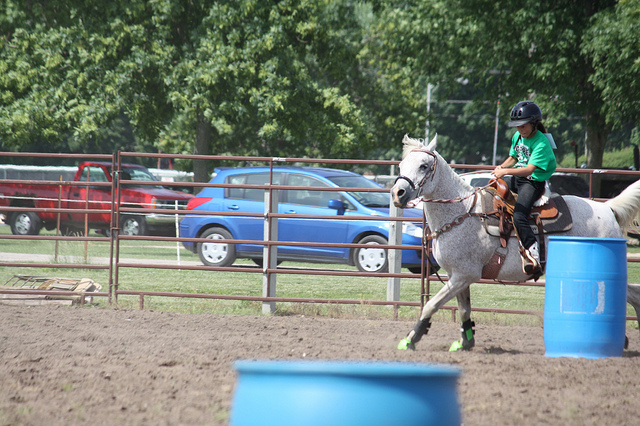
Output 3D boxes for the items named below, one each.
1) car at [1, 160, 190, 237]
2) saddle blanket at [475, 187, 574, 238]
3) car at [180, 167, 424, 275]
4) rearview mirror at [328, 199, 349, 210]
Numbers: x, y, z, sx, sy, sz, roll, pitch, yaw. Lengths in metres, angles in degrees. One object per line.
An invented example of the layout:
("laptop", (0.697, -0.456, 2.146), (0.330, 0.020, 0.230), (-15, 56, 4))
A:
("car", (-6.657, -0.349, 30.277), (6.064, 2.280, 2.747), (0, 0, 24))
("saddle blanket", (4.465, 0.004, 22.559), (1.503, 0.601, 1.765), (19, 37, -3))
("car", (-0.654, 0.160, 26.447), (5.810, 2.210, 2.766), (0, 0, 11))
("rearview mirror", (0.438, -0.191, 26.763), (0.405, 0.169, 0.229), (4, -3, -36))
